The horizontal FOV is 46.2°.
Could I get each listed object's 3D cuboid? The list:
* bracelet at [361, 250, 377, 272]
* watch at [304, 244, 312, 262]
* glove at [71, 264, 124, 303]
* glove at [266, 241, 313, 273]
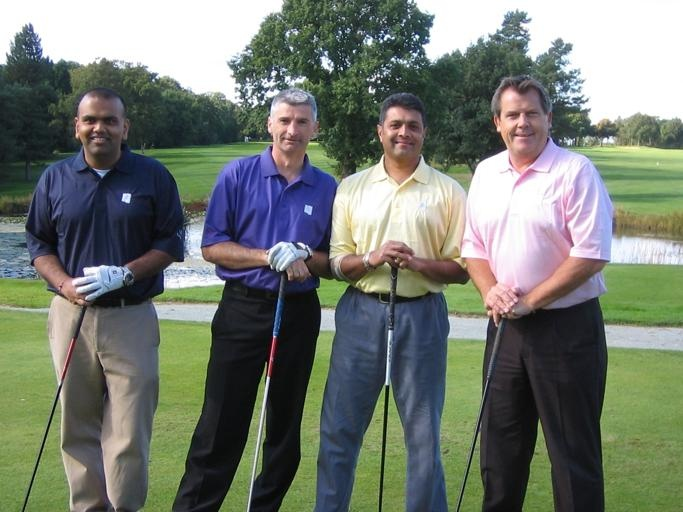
[{"bbox_3d":[0.180,0.044,5.670,0.075,0.127,0.117,5,3,38],"label":"bracelet"},{"bbox_3d":[-0.233,-0.020,5.663,0.041,0.092,0.070,-1,8,-43],"label":"watch"},{"bbox_3d":[-1.642,0.181,5.388,0.318,0.211,0.149,-10,-10,-5],"label":"glove"},{"bbox_3d":[-0.386,0.015,5.623,0.229,0.221,0.309,5,7,31],"label":"glove"}]
